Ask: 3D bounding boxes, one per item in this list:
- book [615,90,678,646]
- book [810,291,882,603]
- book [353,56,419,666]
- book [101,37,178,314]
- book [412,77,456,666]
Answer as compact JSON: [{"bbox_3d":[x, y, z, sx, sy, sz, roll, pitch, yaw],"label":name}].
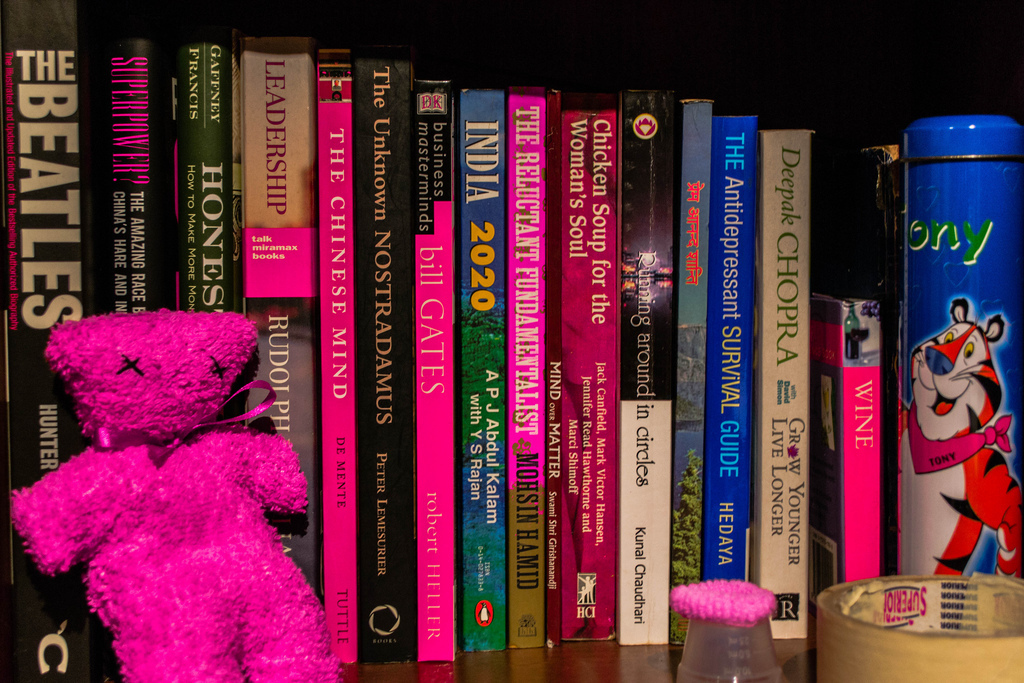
[{"bbox_3d":[0.133,0.027,1.309,0.058,0.557,0.018,-1,3,5],"label":"book"},{"bbox_3d":[0.338,0.112,1.329,0.077,0.315,0.043,0,3,22],"label":"book"},{"bbox_3d":[-0.127,0.014,1.286,0.060,0.605,0.014,-1,3,-8],"label":"book"},{"bbox_3d":[-0.363,-0.162,1.262,0.059,0.258,0.015,-1,3,0],"label":"book"},{"bbox_3d":[-0.076,0.030,1.293,0.045,0.578,0.024,-1,3,-4],"label":"book"}]
